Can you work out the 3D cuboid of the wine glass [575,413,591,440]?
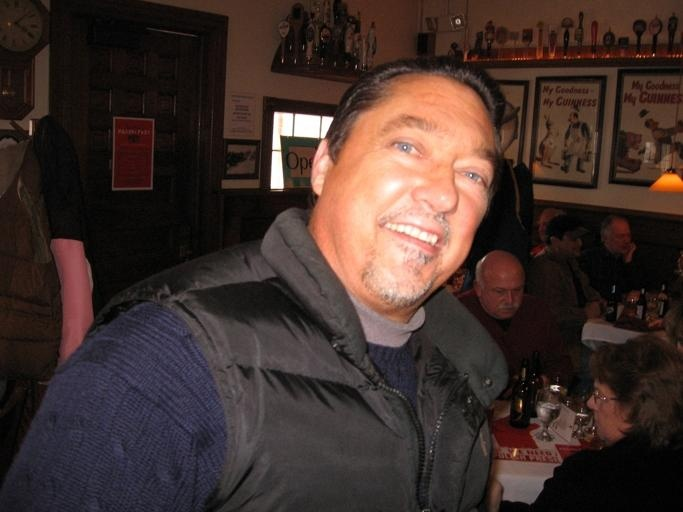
[{"bbox_3d":[1.297,0.910,2.940,0.102,0.127,0.107,1,-8,5],"label":"wine glass"}]
